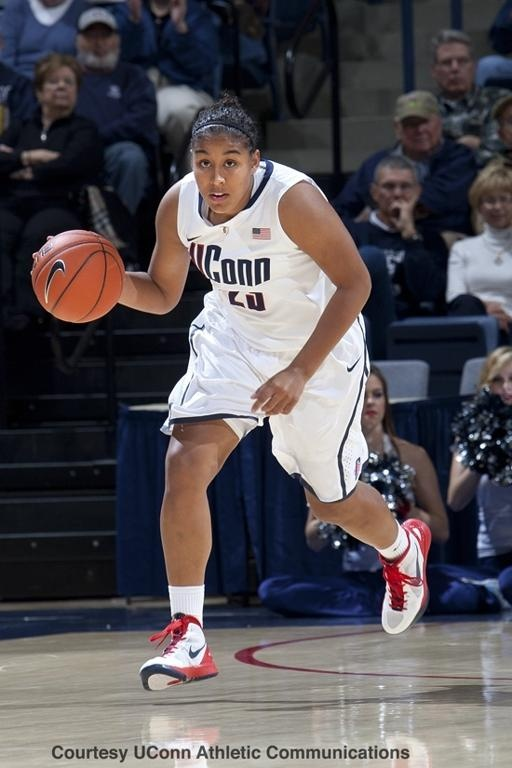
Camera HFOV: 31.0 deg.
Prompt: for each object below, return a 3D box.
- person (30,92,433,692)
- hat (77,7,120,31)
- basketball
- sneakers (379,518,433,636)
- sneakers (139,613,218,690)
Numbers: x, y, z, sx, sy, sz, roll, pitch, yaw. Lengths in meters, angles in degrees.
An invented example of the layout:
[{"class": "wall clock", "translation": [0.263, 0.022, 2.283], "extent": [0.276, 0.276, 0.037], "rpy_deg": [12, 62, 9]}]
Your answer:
[{"class": "person", "translation": [0.002, 0.034, 2.062], "extent": [0.899, 1.329, 0.491], "rpy_deg": [-10, 10, -32]}, {"class": "hat", "translation": [-0.808, -1.864, 4.716], "extent": [0.280, 0.112, 0.105], "rpy_deg": [0, -6, -10]}, {"class": "basketball", "translation": [-0.350, -0.241, 2.048], "extent": [0.225, 0.217, 0.210], "rpy_deg": [4, 9, 9]}, {"class": "sneakers", "translation": [0.344, 0.501, 2.418], "extent": [0.128, 0.305, 0.156], "rpy_deg": [6, -9, 28]}, {"class": "sneakers", "translation": [-0.156, 0.524, 1.825], "extent": [0.083, 0.132, 0.211], "rpy_deg": [-20, -21, 23]}]
